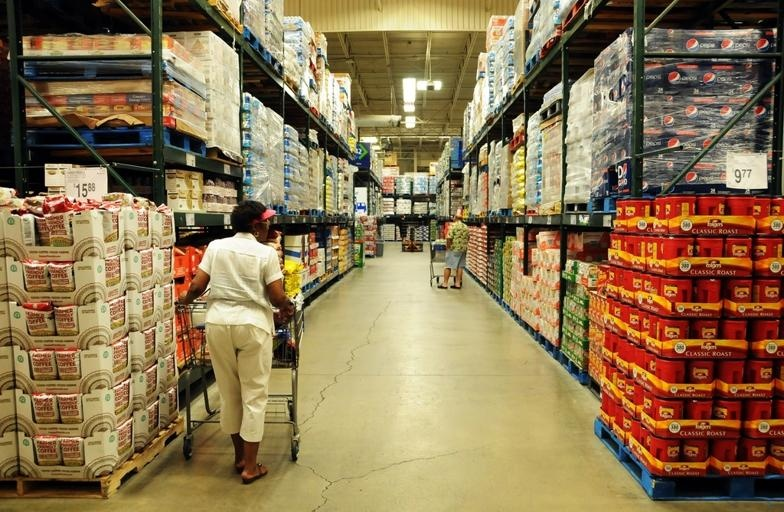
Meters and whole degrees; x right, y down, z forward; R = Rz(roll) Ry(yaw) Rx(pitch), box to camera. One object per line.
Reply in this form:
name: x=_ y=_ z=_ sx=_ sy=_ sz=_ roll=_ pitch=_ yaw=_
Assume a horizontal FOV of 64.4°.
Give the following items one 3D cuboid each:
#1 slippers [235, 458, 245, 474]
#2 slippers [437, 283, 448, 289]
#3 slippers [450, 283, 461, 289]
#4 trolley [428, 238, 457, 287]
slippers: x=-1.286 y=1.790 z=5.263 sx=0.049 sy=0.054 sz=0.142 roll=1 pitch=2 yaw=-2
slippers: x=1.068 y=0.641 z=13.331 sx=0.085 sy=0.089 sz=0.235 roll=-1 pitch=3 yaw=-43
slippers: x=1.383 y=0.659 z=13.485 sx=0.224 sy=0.080 sz=0.079 roll=3 pitch=2 yaw=18
trolley: x=1.219 y=0.139 z=14.954 sx=0.762 sy=0.986 sz=0.876 roll=-5 pitch=5 yaw=-2
